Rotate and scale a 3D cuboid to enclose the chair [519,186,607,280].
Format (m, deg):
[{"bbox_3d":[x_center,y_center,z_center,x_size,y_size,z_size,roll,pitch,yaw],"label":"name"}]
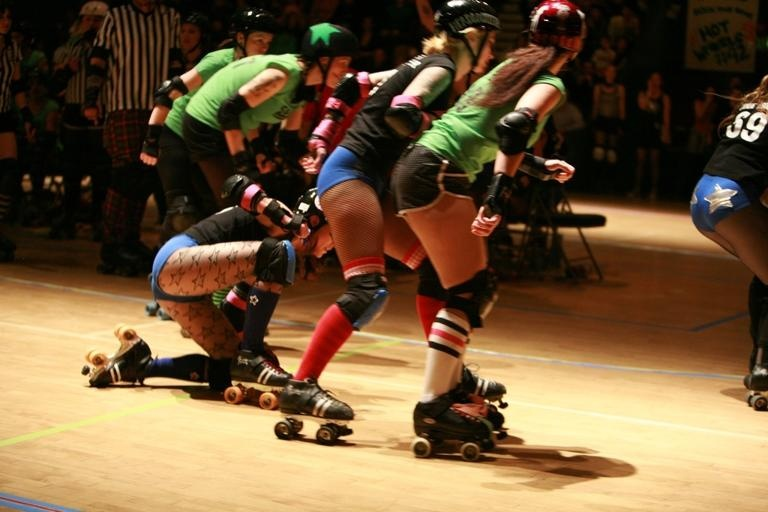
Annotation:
[{"bbox_3d":[1.799,-0.284,7.652,0.792,0.937,0.784,13,16,37],"label":"chair"}]

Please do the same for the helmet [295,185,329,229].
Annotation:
[{"bbox_3d":[-0.386,-0.249,3.875,0.170,0.245,0.342,2,12,-6],"label":"helmet"}]

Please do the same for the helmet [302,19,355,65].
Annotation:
[{"bbox_3d":[-0.287,-1.187,4.014,0.290,0.202,0.190,-8,17,9],"label":"helmet"}]

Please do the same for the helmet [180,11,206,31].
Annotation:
[{"bbox_3d":[-1.744,-2.162,6.709,0.205,0.183,0.189,0,13,-16],"label":"helmet"}]

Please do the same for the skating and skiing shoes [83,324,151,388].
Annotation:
[{"bbox_3d":[-1.419,0.579,3.960,0.410,0.185,0.283,-29,-17,-13],"label":"skating and skiing shoes"}]

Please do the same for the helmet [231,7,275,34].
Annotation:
[{"bbox_3d":[-0.851,-1.535,4.749,0.264,0.167,0.163,8,13,23],"label":"helmet"}]

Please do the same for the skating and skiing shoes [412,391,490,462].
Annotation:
[{"bbox_3d":[0.310,0.775,3.346,0.384,0.237,0.269,-1,-3,6],"label":"skating and skiing shoes"}]
